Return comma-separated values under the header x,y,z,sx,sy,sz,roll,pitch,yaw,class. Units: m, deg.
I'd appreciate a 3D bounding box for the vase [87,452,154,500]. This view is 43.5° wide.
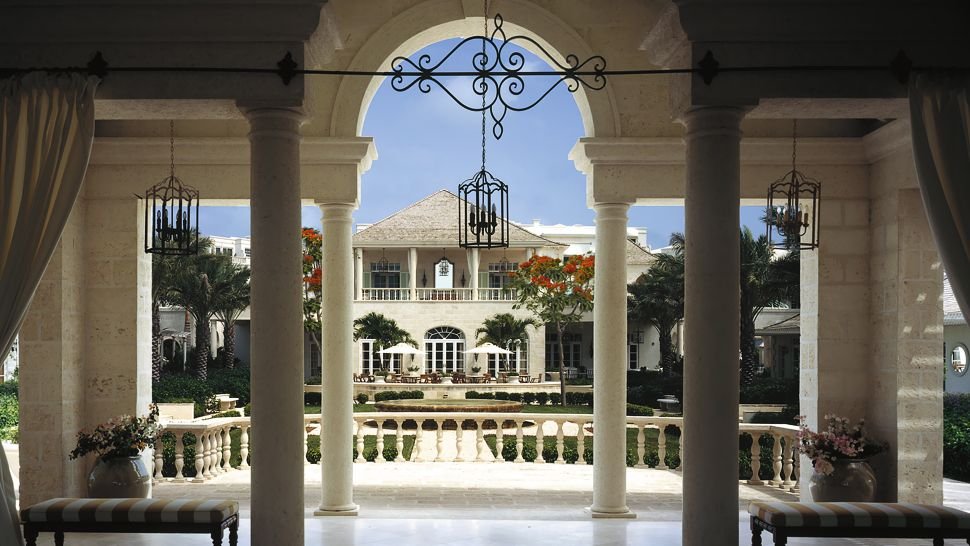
x,y,z,sx,sy,sz,roll,pitch,yaw,class
-6.105,3.436,20.522,0.877,0.883,0.781,0,-3,-19,vase

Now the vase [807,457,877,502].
x,y,z,sx,sy,sz,roll,pitch,yaw,class
6.065,3.519,20.721,0.834,0.896,0.819,0,-16,6,vase

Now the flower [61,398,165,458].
x,y,z,sx,sy,sz,roll,pitch,yaw,class
-6.301,2.752,20.971,1.390,0.879,0.834,0,-7,-3,flower
